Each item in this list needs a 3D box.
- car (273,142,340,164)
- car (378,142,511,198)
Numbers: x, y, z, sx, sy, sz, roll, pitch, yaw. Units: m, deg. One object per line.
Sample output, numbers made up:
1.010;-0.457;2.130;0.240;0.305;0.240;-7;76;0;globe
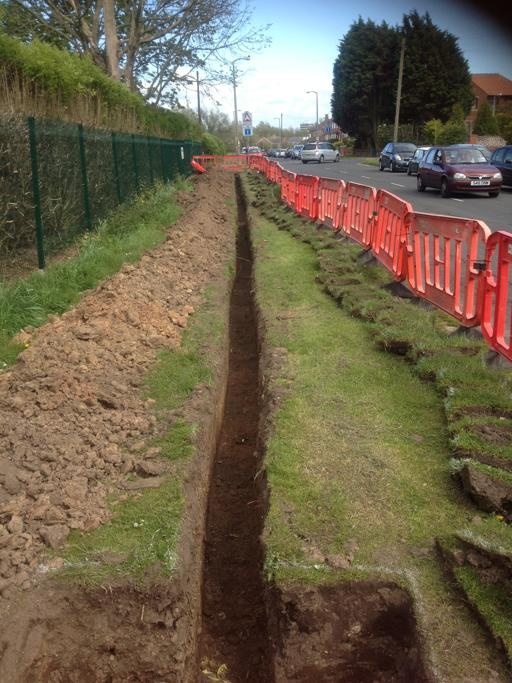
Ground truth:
4.868;-14.546;42.891;2.803;1.537;3.119;7;20;17;car
6.773;-5.735;18.620;1.689;1.597;2.830;-5;20;-18;car
